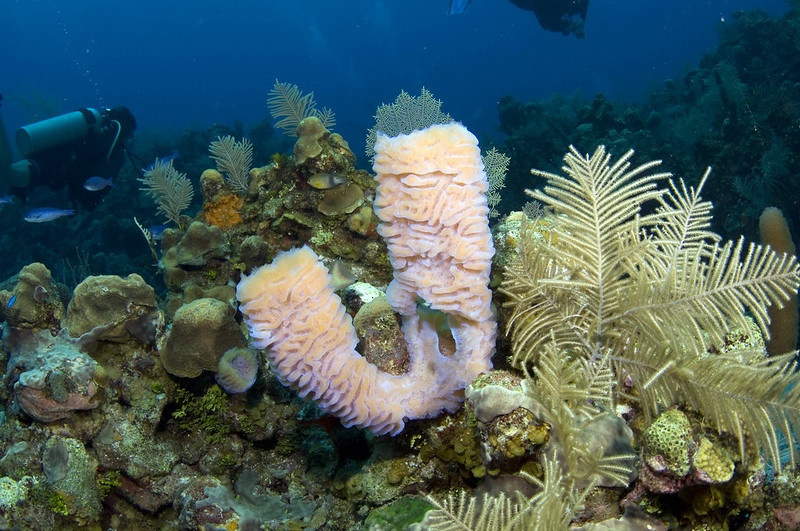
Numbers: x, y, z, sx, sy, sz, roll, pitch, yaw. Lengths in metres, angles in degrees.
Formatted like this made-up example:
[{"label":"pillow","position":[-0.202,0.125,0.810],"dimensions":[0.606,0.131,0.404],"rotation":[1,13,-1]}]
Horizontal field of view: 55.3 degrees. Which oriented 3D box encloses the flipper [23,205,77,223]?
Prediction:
[{"label":"flipper","position":[-8.677,-1.316,18.905],"dimensions":[1.122,0.480,0.357],"rotation":[-8,39,-18]}]
